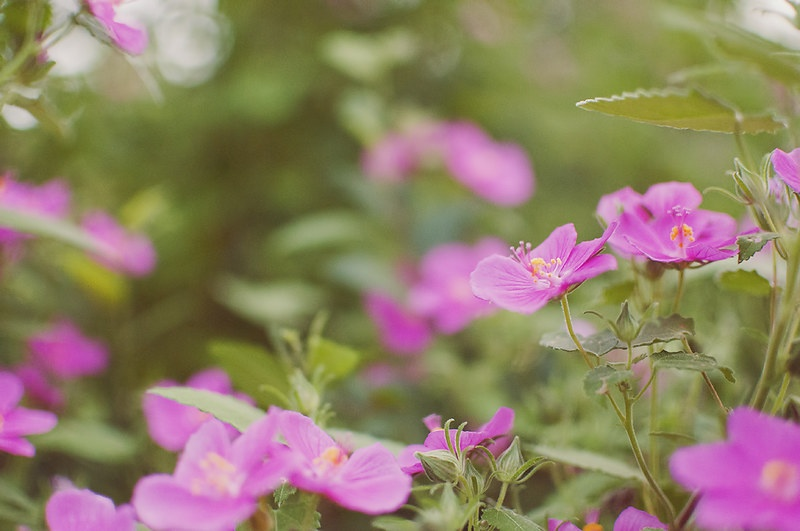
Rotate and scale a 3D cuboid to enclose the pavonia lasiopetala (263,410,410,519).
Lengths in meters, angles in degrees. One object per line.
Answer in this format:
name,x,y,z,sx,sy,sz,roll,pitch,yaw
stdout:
pavonia lasiopetala,-0.110,0.350,1.587,0.187,0.088,0.198,36,-2,-13
